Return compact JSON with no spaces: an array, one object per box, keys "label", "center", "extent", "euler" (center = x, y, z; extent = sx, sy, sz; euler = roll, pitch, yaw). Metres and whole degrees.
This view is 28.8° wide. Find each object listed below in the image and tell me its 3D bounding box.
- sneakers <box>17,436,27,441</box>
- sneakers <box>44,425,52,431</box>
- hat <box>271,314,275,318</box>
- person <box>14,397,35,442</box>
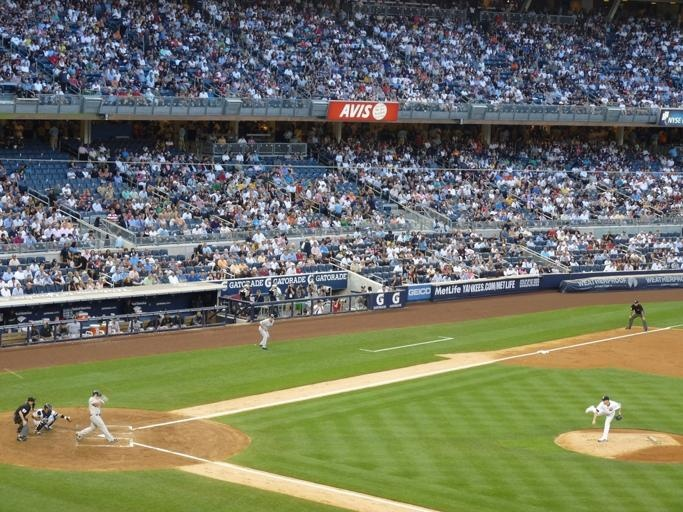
[{"label":"sneakers","center":[-12.596,7.160,52.282],"extent":[0.360,0.250,0.141],"euler":[-1,7,-3]},{"label":"sneakers","center":[-11.735,6.836,53.055],"extent":[0.376,0.257,0.126],"euler":[-8,22,-24]},{"label":"hat","center":[-3.478,2.968,67.343],"extent":[0.199,0.174,0.371],"euler":[2,4,-1]},{"label":"person","center":[-12.579,6.312,52.403],"extent":[0.675,1.642,0.882],"euler":[9,20,-4]}]
